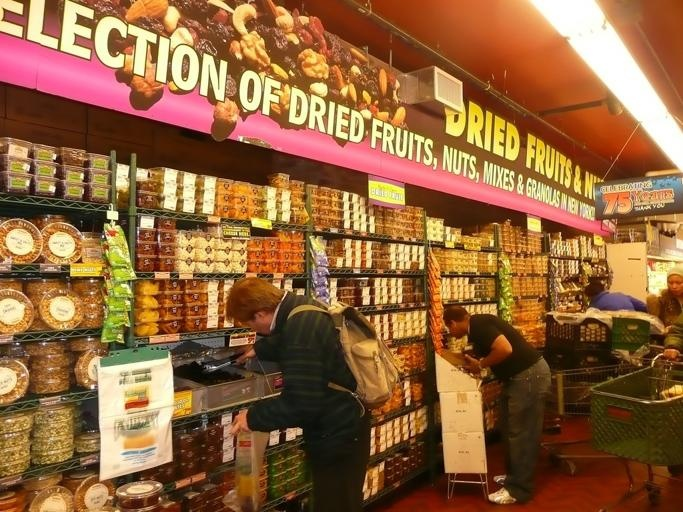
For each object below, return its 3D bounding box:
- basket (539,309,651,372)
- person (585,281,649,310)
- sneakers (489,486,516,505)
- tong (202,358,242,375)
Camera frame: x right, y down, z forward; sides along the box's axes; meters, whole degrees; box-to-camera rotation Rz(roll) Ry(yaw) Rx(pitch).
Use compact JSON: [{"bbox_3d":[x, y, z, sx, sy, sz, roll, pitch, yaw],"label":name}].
[{"bbox_3d":[3.218,0.990,6.371,1.327,0.854,0.734,3,4,44],"label":"basket"},{"bbox_3d":[4.561,0.647,8.275,0.602,0.470,1.490,5,4,18],"label":"person"},{"bbox_3d":[1.652,2.447,5.168,0.237,0.094,0.119,3,-2,13],"label":"sneakers"},{"bbox_3d":[-0.955,0.875,4.077,0.329,0.083,0.086,-6,27,-27],"label":"tong"}]
